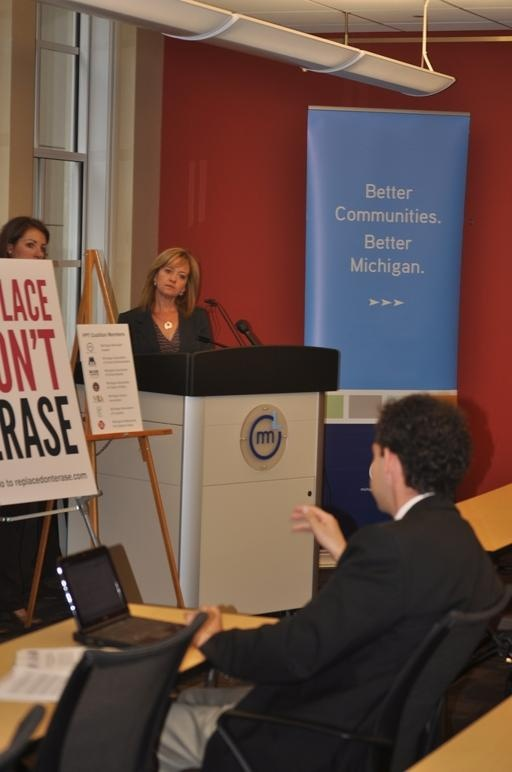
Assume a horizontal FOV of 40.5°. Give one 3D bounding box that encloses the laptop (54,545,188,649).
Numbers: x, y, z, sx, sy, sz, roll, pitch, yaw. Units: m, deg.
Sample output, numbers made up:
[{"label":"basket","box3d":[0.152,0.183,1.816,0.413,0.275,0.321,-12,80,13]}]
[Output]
[{"label":"laptop","box3d":[-0.318,0.463,1.477,0.209,0.252,0.237,-13,-7,23]}]
